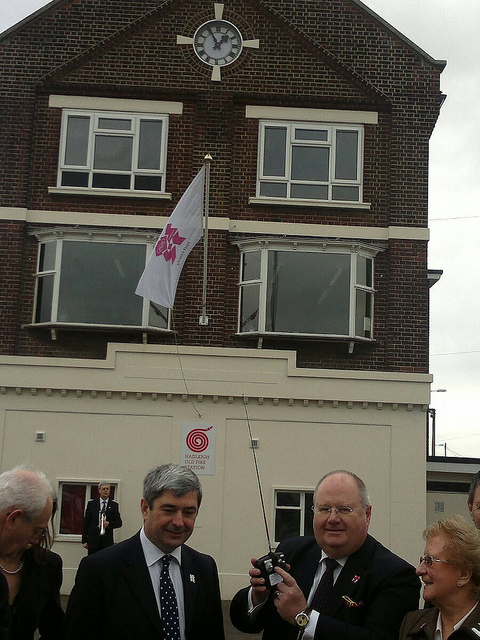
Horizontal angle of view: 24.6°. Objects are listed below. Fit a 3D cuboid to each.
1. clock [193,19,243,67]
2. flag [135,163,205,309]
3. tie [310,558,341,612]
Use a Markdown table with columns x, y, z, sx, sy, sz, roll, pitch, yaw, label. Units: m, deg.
| x | y | z | sx | sy | sz | roll | pitch | yaw | label |
| --- | --- | --- | --- | --- | --- | --- | --- | --- | --- |
| -0.413 | -5.386 | 21.450 | 0.892 | 1.159 | 0.112 | 3 | -25 | 3 | clock |
| -1.076 | -1.550 | 18.798 | 0.870 | 3.605 | 0.209 | 18 | -40 | -9 | flag |
| 0.540 | 1.686 | 6.936 | 0.107 | 0.385 | 0.064 | -1 | -39 | 32 | tie |
